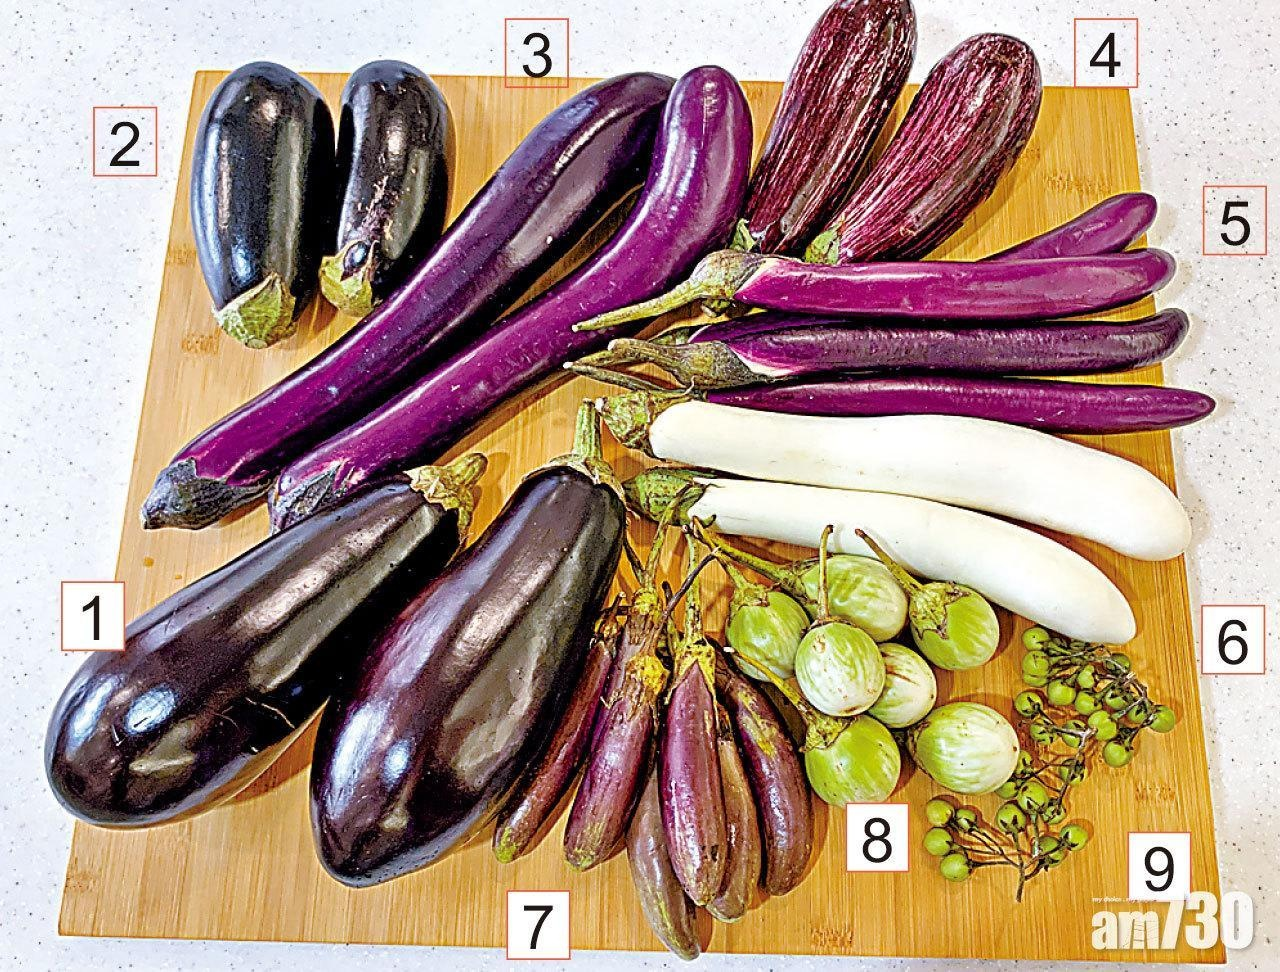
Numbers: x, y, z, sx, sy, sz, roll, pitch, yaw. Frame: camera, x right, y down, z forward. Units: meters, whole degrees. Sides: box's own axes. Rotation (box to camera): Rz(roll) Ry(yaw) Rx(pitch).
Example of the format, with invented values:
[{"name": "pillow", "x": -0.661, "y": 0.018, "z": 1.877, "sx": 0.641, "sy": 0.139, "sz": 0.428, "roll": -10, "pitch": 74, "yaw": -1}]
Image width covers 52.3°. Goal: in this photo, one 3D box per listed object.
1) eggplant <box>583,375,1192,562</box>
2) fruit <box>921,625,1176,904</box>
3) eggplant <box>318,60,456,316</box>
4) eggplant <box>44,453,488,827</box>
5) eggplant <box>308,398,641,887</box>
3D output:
[{"name": "eggplant", "x": 0.261, "y": -0.019, "z": 1.402, "sx": 0.526, "sy": 0.098, "sz": 0.097, "roll": 8, "pitch": 33, "yaw": 4}, {"name": "fruit", "x": 0.443, "y": 0.296, "z": 1.455, "sx": 0.220, "sy": 0.331, "sz": 0.084, "roll": 10, "pitch": -11, "yaw": 6}, {"name": "eggplant", "x": -0.282, "y": -0.352, "z": 1.525, "sx": 0.147, "sy": 0.337, "sz": 0.145, "roll": -1, "pitch": -30, "yaw": 2}, {"name": "eggplant", "x": -0.382, "y": 0.148, "z": 1.395, "sx": 0.534, "sy": 0.186, "sz": 0.213, "roll": -38, "pitch": -13, "yaw": -3}, {"name": "eggplant", "x": -0.145, "y": 0.157, "z": 1.399, "sx": 0.199, "sy": 0.519, "sz": 0.169, "roll": 30, "pitch": -4, "yaw": 5}]
